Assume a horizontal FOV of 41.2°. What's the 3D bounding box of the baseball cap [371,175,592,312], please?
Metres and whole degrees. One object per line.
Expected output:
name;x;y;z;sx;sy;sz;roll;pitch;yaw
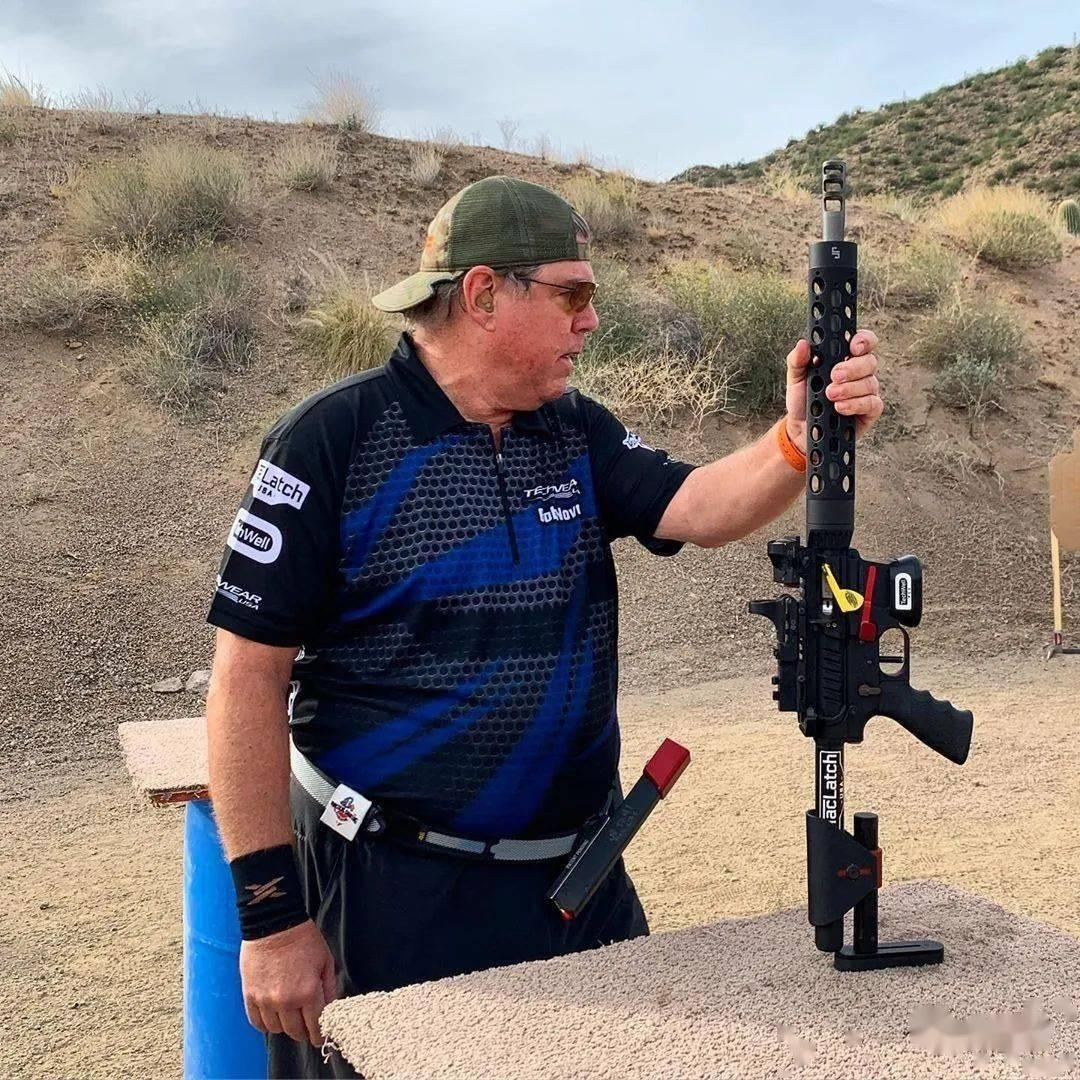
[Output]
baseball cap;-0.121;-0.699;3.378;0.577;0.291;0.355;-6;5;3

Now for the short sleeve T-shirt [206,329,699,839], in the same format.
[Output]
short sleeve T-shirt;-0.231;0.087;3.652;1.466;1.289;1.012;4;-5;-37

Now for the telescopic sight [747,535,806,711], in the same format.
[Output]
telescopic sight;0.508;0.179;3.059;0.151;0.369;0.101;0;7;-14

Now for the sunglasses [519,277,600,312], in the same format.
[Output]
sunglasses;0.049;-0.566;3.264;0.114;0.038;0.090;8;6;8
